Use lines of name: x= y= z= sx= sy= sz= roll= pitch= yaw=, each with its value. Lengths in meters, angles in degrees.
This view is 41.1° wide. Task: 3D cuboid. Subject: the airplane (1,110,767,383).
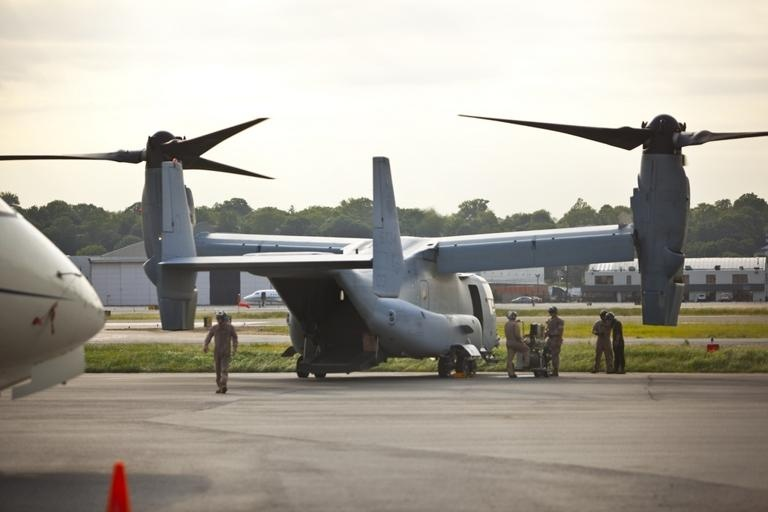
airplane: x=0.559 y=-0.047 z=27.706 sx=13.713 sy=7.117 sz=6.023 roll=1 pitch=2 yaw=2

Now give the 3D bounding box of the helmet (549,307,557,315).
helmet: x=4.820 y=1.571 z=29.125 sx=0.202 sy=0.207 sz=0.247 roll=0 pitch=-7 yaw=10

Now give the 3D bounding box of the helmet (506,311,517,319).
helmet: x=3.615 y=1.666 z=28.704 sx=0.205 sy=0.228 sz=0.262 roll=-1 pitch=-14 yaw=7

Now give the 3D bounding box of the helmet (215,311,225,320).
helmet: x=-4.077 y=1.522 z=25.754 sx=0.195 sy=0.239 sz=0.243 roll=1 pitch=-1 yaw=4
